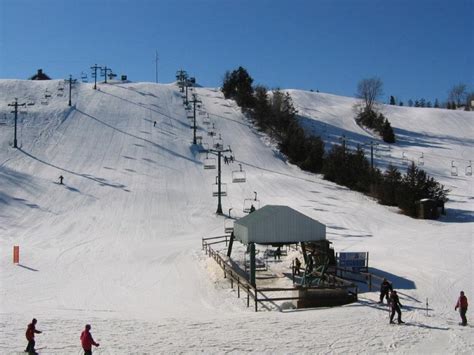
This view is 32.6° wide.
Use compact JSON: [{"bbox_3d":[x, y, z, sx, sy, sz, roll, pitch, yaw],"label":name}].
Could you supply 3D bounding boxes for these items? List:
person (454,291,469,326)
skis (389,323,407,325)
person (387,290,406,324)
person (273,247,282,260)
[{"bbox_3d":[20.006,11.736,72.251,0.954,3.027,1.486,1,-3,21],"label":"person"},{"bbox_3d":[14.284,13.088,72.355,1.415,0.250,0.238,2,-3,-5],"label":"skis"},{"bbox_3d":[14.273,11.691,72.677,1.099,2.858,1.237,0,-3,32],"label":"person"},{"bbox_3d":[4.194,8.053,85.625,0.398,1.371,0.761,9,4,27],"label":"person"}]
